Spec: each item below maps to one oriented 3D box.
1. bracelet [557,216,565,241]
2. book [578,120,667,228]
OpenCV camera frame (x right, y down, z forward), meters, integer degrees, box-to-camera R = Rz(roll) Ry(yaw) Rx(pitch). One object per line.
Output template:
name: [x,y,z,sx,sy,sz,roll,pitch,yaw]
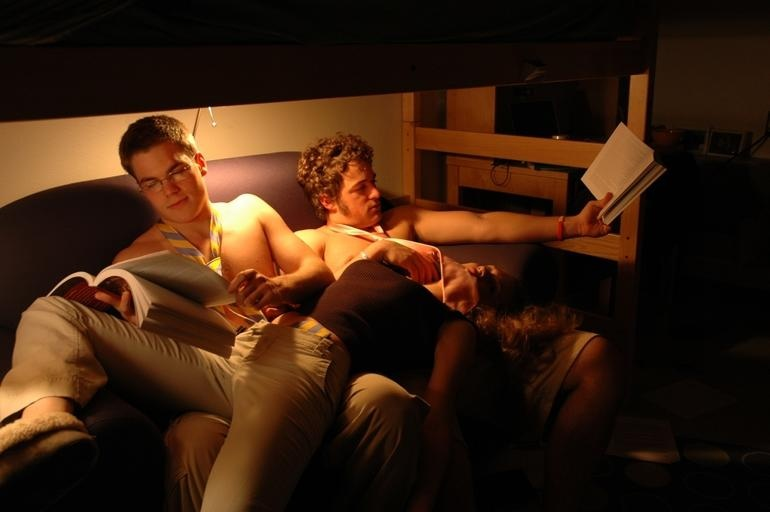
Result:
bracelet: [0.705,-0.109,2.268,0.021,0.071,0.050,-1,-15,6]
book: [0.843,-0.279,2.020,0.099,0.342,0.327,5,42,-24]
